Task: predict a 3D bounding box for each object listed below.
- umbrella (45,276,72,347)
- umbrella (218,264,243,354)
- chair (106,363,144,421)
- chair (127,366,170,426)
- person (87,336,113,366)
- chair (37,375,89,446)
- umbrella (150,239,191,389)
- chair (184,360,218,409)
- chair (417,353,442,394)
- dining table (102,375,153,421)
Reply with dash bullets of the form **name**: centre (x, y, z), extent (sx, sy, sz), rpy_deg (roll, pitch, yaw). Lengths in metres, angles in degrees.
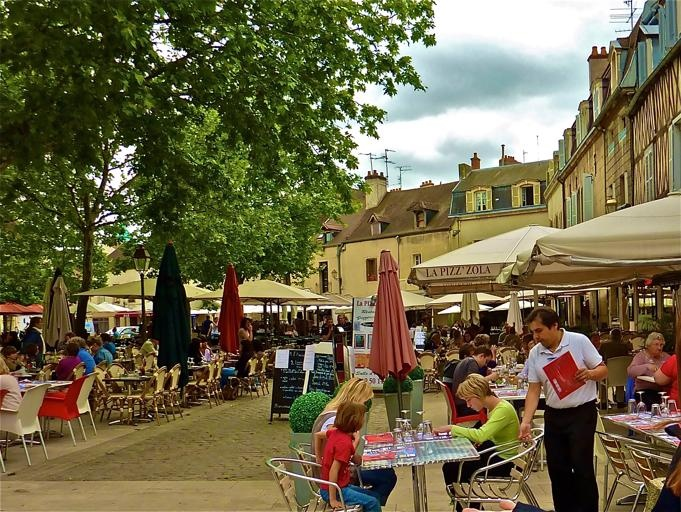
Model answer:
- **umbrella**: centre (-8.233, 1.532, 19.933), extent (0.765, 1.680, 1.033), rpy_deg (-8, -3, -24)
- **umbrella**: centre (-2.983, 1.536, 18.562), extent (0.516, 1.966, 0.873), rpy_deg (-9, -3, 15)
- **chair**: centre (-4.807, 2.967, 14.985), extent (0.785, 0.976, 0.728), rpy_deg (-5, 7, -14)
- **chair**: centre (-4.219, 2.995, 14.867), extent (0.856, 1.062, 0.820), rpy_deg (-1, 0, 15)
- **person**: centre (-6.048, 2.422, 17.344), extent (0.444, 0.813, 0.429), rpy_deg (-17, -2, 30)
- **chair**: centre (-4.992, 2.724, 12.508), extent (0.975, 1.140, 0.948), rpy_deg (4, -3, -30)
- **umbrella**: centre (-3.831, 1.344, 15.651), extent (0.851, 2.660, 0.655), rpy_deg (-7, -3, -31)
- **chair**: centre (-3.564, 3.247, 17.790), extent (0.798, 1.102, 0.788), rpy_deg (-2, -5, 12)
- **chair**: centre (2.442, 3.176, 19.003), extent (0.673, 1.041, 0.781), rpy_deg (-6, 0, 0)
- **dining table**: centre (-4.700, 3.150, 15.257), extent (1.184, 1.107, 1.224), rpy_deg (0, -5, 3)
